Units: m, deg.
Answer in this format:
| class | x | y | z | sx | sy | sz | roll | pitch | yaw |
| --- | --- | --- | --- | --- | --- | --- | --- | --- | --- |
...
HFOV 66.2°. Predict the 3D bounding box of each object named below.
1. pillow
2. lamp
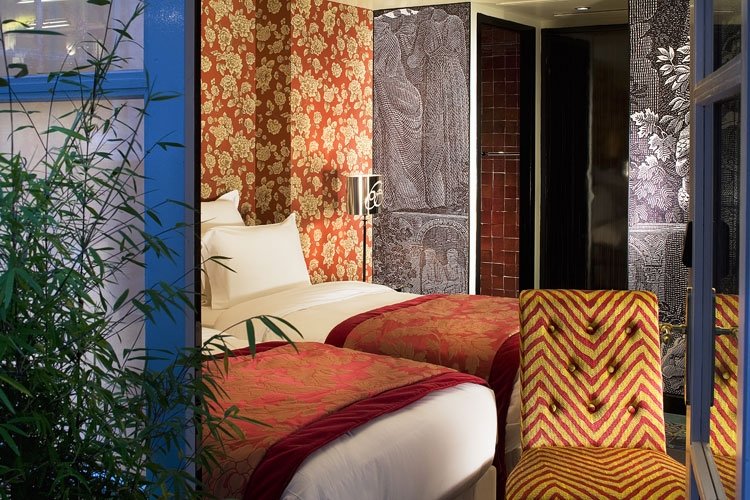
| class | x | y | z | sx | sy | sz | roll | pitch | yaw |
| --- | --- | --- | --- | --- | --- | --- | --- | --- | --- |
| pillow | -0.982 | 0.010 | 4.638 | 0.245 | 0.675 | 0.947 | -12 | -4 | 36 |
| lamp | -0.098 | -0.234 | 5.971 | 0.353 | 1.038 | 0.601 | -1 | 0 | 1 |
